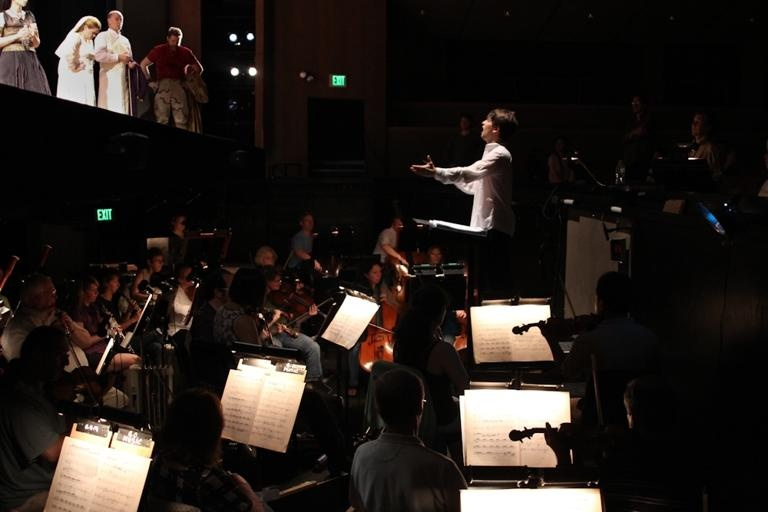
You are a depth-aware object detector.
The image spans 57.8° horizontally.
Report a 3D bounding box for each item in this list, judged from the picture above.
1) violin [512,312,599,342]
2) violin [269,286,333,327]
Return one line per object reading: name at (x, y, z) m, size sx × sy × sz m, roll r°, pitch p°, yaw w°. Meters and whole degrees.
violin at (1.469, 0.601, 6.066) m, size 0.894 × 0.196 × 0.434 m, roll 5°, pitch -1°, yaw -29°
violin at (-0.986, 0.622, 8.642) m, size 0.821 × 0.381 × 0.150 m, roll 22°, pitch -31°, yaw 16°
